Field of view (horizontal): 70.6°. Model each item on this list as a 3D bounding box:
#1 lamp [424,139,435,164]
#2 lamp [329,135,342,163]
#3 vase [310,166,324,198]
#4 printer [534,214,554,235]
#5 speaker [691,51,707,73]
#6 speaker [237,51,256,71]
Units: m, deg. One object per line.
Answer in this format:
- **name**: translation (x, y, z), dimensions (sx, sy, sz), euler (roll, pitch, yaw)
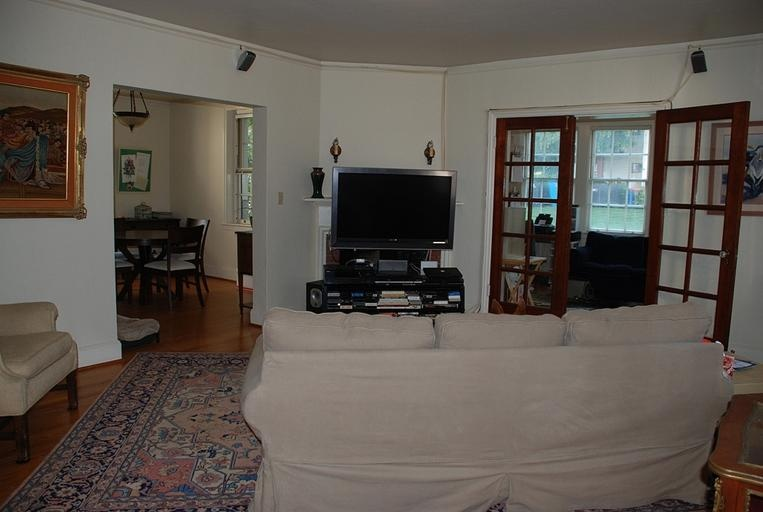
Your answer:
- **lamp**: translation (0.612, -1.284, 6.672), dimensions (0.141, 0.310, 0.173), euler (1, 12, 4)
- **lamp**: translation (-0.560, -1.291, 6.596), dimensions (0.148, 0.316, 0.269), euler (-1, 12, -5)
- **vase**: translation (-0.766, -0.895, 6.537), dimensions (0.172, 0.362, 0.327), euler (-1, 12, -6)
- **printer**: translation (1.903, -0.378, 6.305), dimensions (0.221, 0.238, 0.238), euler (-4, 5, -36)
- **speaker**: translation (3.171, -1.940, 5.353), dimensions (0.133, 0.237, 0.129), euler (-25, 28, -26)
- **speaker**: translation (-1.457, -2.104, 5.775), dimensions (0.112, 0.118, 0.203), euler (21, 27, -28)
